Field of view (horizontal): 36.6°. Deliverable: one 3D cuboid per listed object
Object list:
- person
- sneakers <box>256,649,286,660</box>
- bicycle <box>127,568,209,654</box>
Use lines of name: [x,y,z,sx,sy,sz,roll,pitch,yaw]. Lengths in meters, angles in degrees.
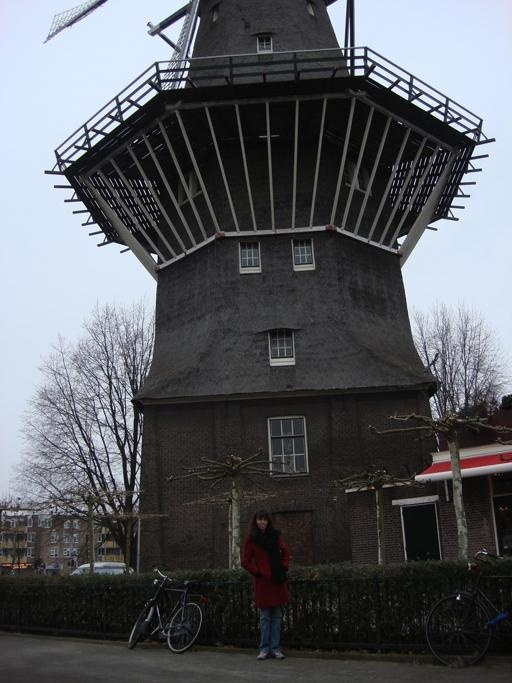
person: [0.126,2.784,8.838,0.482,1.643,0.564,-6,-17,13]
sneakers: [0.163,3.555,8.785,0.409,0.154,0.129,-1,-27,0]
bicycle: [-1.125,3.712,10.565,0.731,0.900,1.598,33,-21,-23]
